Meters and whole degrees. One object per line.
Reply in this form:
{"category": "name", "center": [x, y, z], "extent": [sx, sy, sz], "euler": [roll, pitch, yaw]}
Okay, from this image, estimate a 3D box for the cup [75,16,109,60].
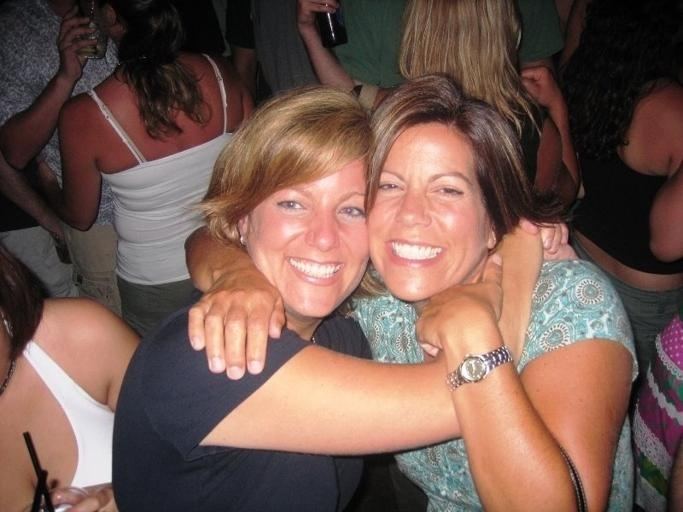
{"category": "cup", "center": [-1.458, -1.248, 3.353], "extent": [0.187, 0.247, 0.105], "euler": [-19, 47, -17]}
